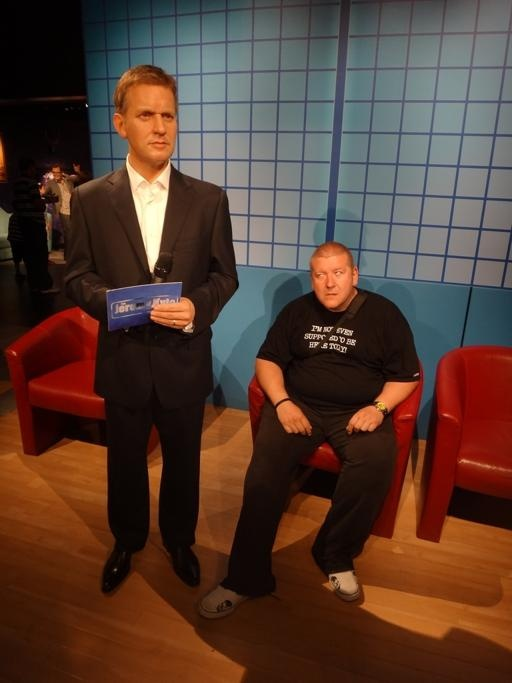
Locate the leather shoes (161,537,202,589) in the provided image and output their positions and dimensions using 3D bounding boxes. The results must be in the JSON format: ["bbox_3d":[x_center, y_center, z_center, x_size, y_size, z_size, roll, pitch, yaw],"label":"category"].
[{"bbox_3d":[-0.304,0.829,1.910,0.082,0.092,0.247,-12,31,-27],"label":"leather shoes"}]

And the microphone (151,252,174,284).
[{"bbox_3d":[-0.268,-0.206,1.362,0.051,0.086,0.065,0,20,-13],"label":"microphone"}]

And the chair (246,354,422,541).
[{"bbox_3d":[0.372,0.518,2.375,0.754,0.822,0.688,6,23,16],"label":"chair"}]

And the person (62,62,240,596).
[{"bbox_3d":[-0.328,0.094,1.600,0.543,1.795,0.464,-3,20,-22],"label":"person"}]

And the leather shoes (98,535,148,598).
[{"bbox_3d":[-0.523,0.855,1.901,0.089,0.112,0.275,10,14,7],"label":"leather shoes"}]

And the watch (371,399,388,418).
[{"bbox_3d":[0.485,0.272,1.927,0.067,0.053,0.064,17,23,30],"label":"watch"}]
